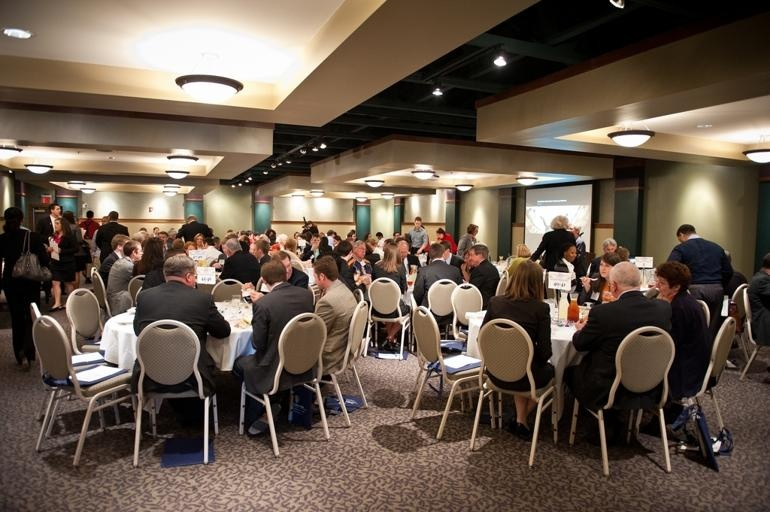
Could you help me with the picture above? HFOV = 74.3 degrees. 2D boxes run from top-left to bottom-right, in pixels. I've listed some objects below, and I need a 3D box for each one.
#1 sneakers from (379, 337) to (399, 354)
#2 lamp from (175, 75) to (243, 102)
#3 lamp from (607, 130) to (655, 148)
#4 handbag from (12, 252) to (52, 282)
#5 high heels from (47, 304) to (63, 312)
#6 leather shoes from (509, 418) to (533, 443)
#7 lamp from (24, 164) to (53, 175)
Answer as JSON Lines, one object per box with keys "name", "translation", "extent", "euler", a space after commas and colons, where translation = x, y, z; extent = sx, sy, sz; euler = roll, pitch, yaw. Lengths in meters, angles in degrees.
{"name": "sneakers", "translation": [0.103, 1.345, 7.701], "extent": [0.423, 0.273, 0.136], "euler": [-3, 3, -41]}
{"name": "lamp", "translation": [-2.186, -2.078, 6.273], "extent": [0.473, 0.154, 0.474], "euler": [-2, -2, 19]}
{"name": "lamp", "translation": [3.644, -1.756, 7.552], "extent": [0.426, 0.123, 0.418], "euler": [0, -2, -10]}
{"name": "handbag", "translation": [-4.767, 0.148, 6.820], "extent": [0.179, 0.305, 0.358], "euler": [-11, -16, 29]}
{"name": "high heels", "translation": [-6.164, 0.978, 9.483], "extent": [0.107, 0.137, 0.291], "euler": [-12, -11, 7]}
{"name": "leather shoes", "translation": [1.409, 1.804, 5.246], "extent": [0.111, 0.110, 0.305], "euler": [7, 7, -8]}
{"name": "lamp", "translation": [-7.765, -1.952, 11.351], "extent": [0.443, 0.157, 0.440], "euler": [0, -2, 8]}
